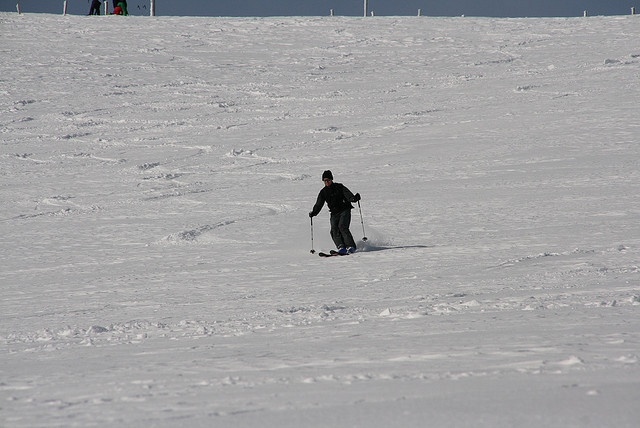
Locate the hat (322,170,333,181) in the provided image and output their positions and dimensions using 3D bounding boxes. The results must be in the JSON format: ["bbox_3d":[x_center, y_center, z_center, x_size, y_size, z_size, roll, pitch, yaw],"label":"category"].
[{"bbox_3d":[0.276,-1.356,40.853,0.296,0.342,0.359,-2,13,-6],"label":"hat"}]
